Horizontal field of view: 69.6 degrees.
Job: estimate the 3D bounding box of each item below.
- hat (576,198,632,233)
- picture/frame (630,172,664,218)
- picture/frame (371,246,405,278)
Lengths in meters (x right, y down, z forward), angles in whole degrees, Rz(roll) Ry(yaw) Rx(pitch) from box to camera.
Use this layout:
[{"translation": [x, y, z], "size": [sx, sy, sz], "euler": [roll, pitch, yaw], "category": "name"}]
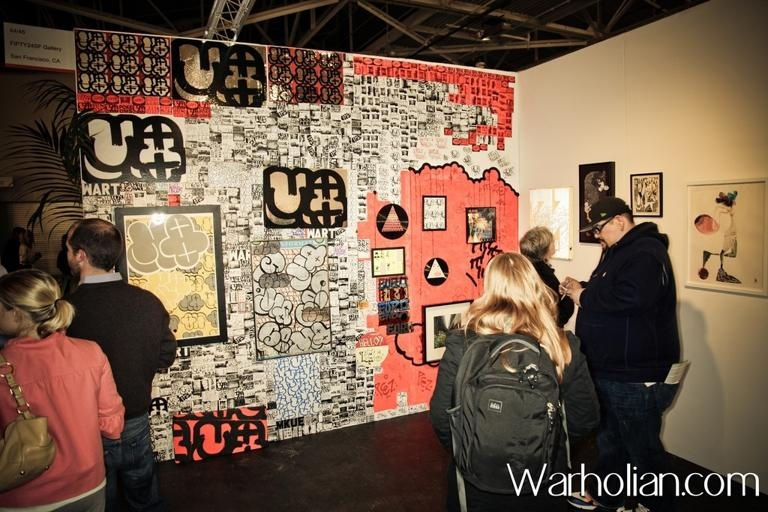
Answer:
[{"translation": [1.905, -0.385, 4.819], "size": [0.352, 0.210, 0.272], "euler": [-15, 6, 29], "category": "hat"}, {"translation": [2.552, -0.601, 5.328], "size": [0.016, 0.325, 0.436], "euler": [-3, 7, -24], "category": "picture/frame"}, {"translation": [0.023, 0.055, 6.083], "size": [0.309, 0.265, 0.023], "euler": [-4, 5, -27], "category": "picture/frame"}]
